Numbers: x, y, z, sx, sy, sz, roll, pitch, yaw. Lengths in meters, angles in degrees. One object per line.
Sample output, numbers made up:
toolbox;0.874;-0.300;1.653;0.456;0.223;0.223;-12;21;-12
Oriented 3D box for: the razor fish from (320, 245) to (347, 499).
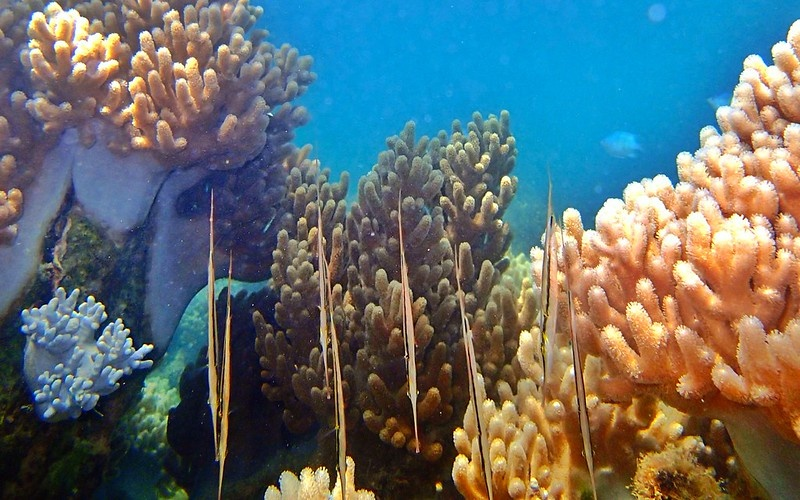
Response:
razor fish;-0.629;1.233;6.564;0.091;2.414;0.312;-9;-18;5
